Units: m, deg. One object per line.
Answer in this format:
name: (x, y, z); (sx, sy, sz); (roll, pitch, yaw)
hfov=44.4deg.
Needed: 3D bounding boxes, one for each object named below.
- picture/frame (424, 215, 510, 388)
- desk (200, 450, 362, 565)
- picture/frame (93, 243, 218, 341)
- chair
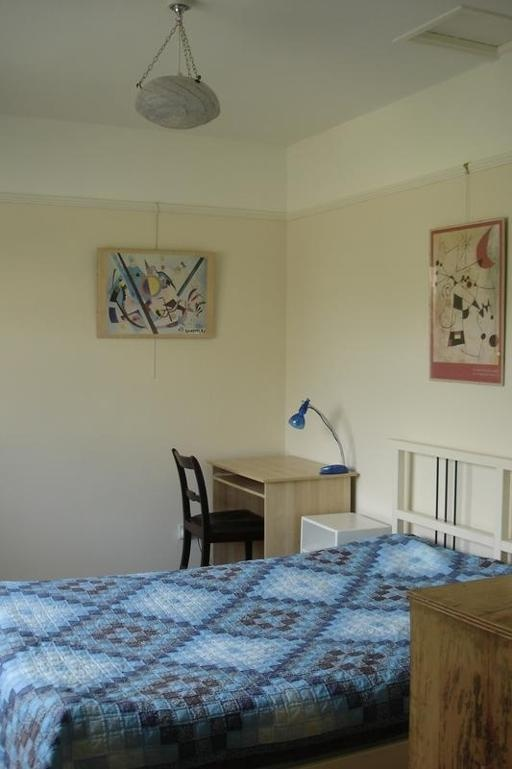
picture/frame: (0.886, -0.348, 2.643); (0.054, 0.709, 0.443); (1, 0, -19)
desk: (0.116, 0.597, 3.579); (0.646, 0.809, 0.883); (0, 1, -22)
picture/frame: (-0.622, -0.551, 3.703); (0.632, 0.449, 0.024); (-1, 3, -27)
chair: (-0.182, 0.729, 3.410); (0.551, 0.711, 0.516); (2, -2, -42)
